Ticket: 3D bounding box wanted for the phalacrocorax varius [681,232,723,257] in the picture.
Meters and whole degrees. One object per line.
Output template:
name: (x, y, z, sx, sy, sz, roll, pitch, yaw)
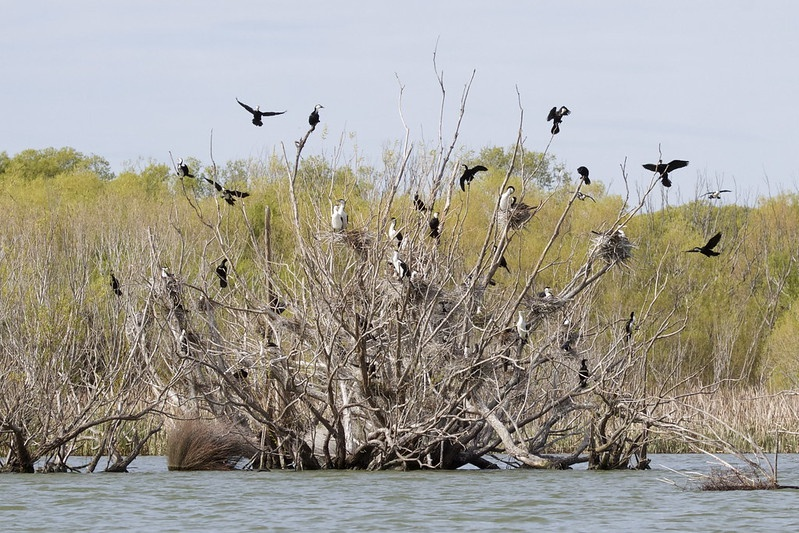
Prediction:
phalacrocorax varius: (11.800, -0.724, 60.134, 0.810, 0.452, 1.369, 24, -59, -25)
